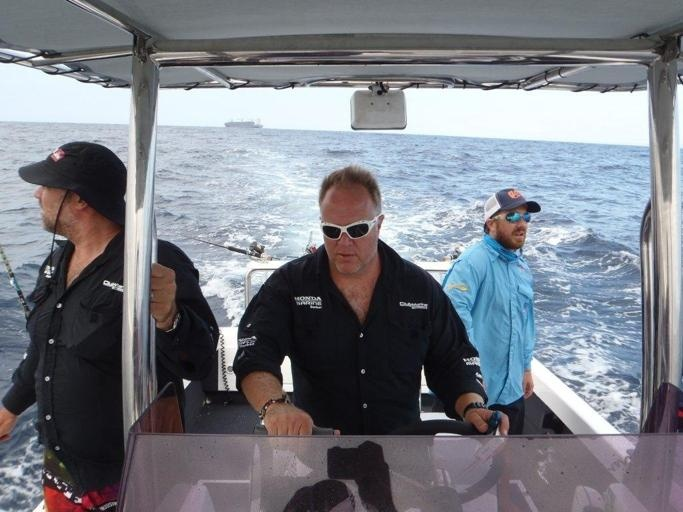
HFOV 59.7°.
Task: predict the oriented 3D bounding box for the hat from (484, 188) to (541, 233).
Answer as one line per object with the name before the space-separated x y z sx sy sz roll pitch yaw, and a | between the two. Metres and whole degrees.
hat | 1.017 -0.329 3.834 0.255 0.188 0.379 4 -20 -46

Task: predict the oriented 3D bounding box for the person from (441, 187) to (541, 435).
person | 0.909 0.268 3.593 0.577 1.514 0.716 4 11 -6

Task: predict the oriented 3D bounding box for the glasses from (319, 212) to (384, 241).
glasses | 0.027 -0.110 2.353 0.179 0.101 0.074 -5 19 -26

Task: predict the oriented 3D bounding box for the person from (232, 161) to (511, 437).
person | 0.093 0.197 2.297 1.010 1.106 0.807 0 6 -21

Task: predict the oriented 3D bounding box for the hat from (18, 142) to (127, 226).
hat | -1.064 -0.301 2.375 0.383 0.313 0.172 0 6 -21
